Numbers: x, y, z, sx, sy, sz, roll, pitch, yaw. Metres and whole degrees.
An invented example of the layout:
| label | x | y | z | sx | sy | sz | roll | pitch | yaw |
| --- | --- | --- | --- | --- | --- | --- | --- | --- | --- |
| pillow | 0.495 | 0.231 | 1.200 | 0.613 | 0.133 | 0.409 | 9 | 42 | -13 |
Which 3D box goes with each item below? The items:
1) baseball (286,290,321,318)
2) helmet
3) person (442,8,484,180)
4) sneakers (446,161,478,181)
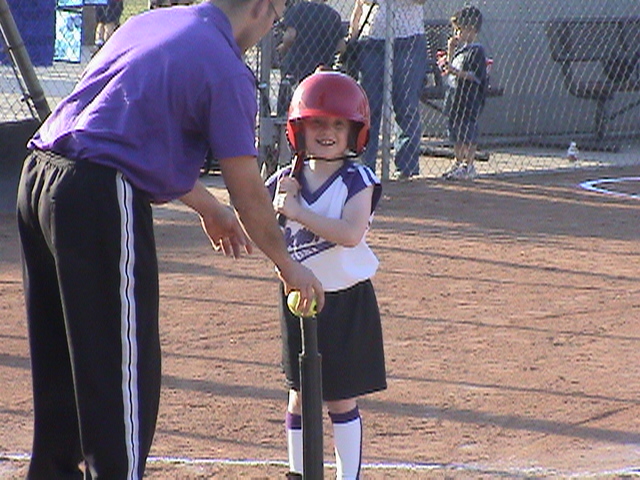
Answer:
| label | x | y | z | sx | sy | sz | roll | pitch | yaw |
| --- | --- | --- | --- | --- | --- | --- | --- | --- | --- |
| baseball | -0.080 | 0.301 | 6.289 | 0.115 | 0.127 | 0.141 | -7 | -3 | 6 |
| helmet | 0.023 | -0.680 | 6.898 | 0.444 | 0.492 | 0.559 | -1 | 7 | -4 |
| person | 1.374 | -1.403 | 12.642 | 0.455 | 1.585 | 0.706 | 1 | 10 | 6 |
| sneakers | 1.338 | -0.661 | 12.527 | 0.132 | 0.137 | 0.299 | -2 | 0 | 27 |
